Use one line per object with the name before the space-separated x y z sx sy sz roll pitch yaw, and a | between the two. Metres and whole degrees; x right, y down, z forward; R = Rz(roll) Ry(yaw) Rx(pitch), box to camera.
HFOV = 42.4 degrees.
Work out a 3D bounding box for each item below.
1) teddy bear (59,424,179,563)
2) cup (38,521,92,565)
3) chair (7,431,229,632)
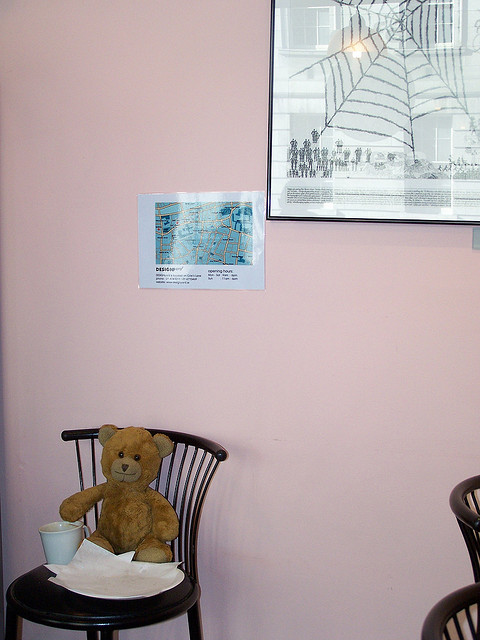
teddy bear | -0.254 0.421 1.613 0.385 0.377 0.271 1 0 5
cup | -0.443 0.537 1.478 0.110 0.084 0.091 -2 -3 -9
chair | -0.278 0.585 1.543 0.477 0.578 0.618 1 8 -1
